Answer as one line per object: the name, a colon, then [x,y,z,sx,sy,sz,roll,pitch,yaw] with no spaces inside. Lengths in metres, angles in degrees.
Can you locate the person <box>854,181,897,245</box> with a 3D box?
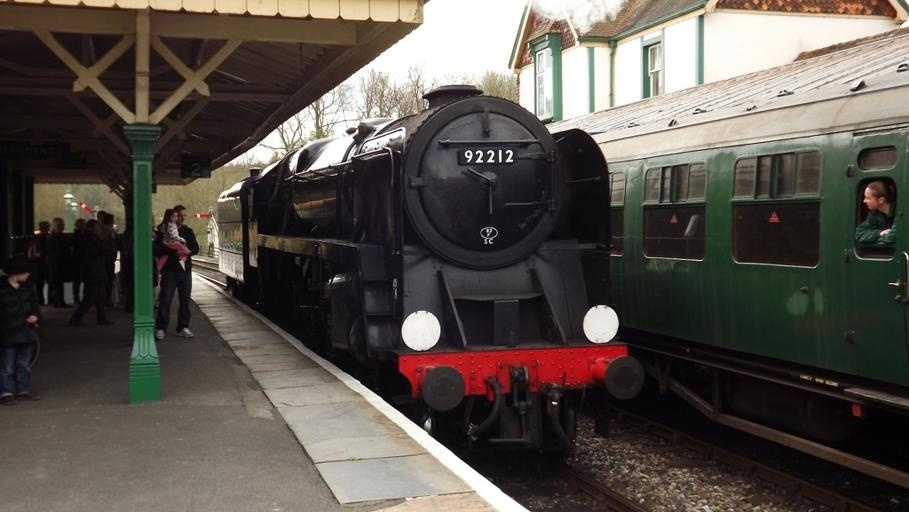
person: [5.412,-0.540,7.889,0.493,0.745,0.547,-17,9,-27]

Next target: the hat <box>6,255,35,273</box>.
hat: [-6.127,0.130,8.840,0.318,0.234,0.376,-3,9,-33]

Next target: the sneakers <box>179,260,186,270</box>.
sneakers: [-5.273,0.175,12.166,0.062,0.162,0.108,-6,-12,27]
